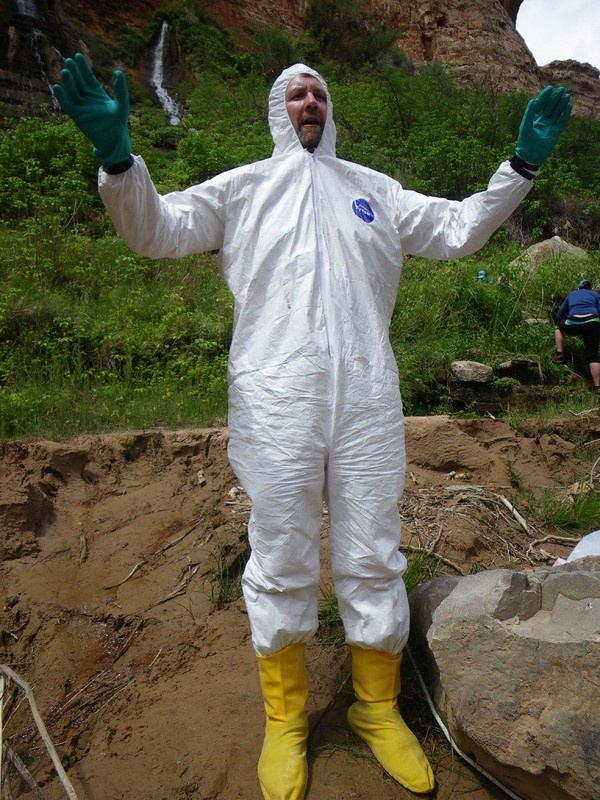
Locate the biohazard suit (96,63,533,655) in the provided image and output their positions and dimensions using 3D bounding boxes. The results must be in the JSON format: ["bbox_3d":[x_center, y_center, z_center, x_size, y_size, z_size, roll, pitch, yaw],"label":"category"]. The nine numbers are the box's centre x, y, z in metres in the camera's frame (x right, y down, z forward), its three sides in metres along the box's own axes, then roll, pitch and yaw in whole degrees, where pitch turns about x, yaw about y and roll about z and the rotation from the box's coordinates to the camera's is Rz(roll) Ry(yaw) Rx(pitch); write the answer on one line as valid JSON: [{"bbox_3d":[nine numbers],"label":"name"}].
[{"bbox_3d":[0.028,-0.087,2.619,1.052,1.721,0.896,16,23,37],"label":"biohazard suit"}]

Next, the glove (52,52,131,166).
[{"bbox_3d":[-0.652,-0.909,2.344,0.258,0.328,0.234,-7,20,-24],"label":"glove"}]
